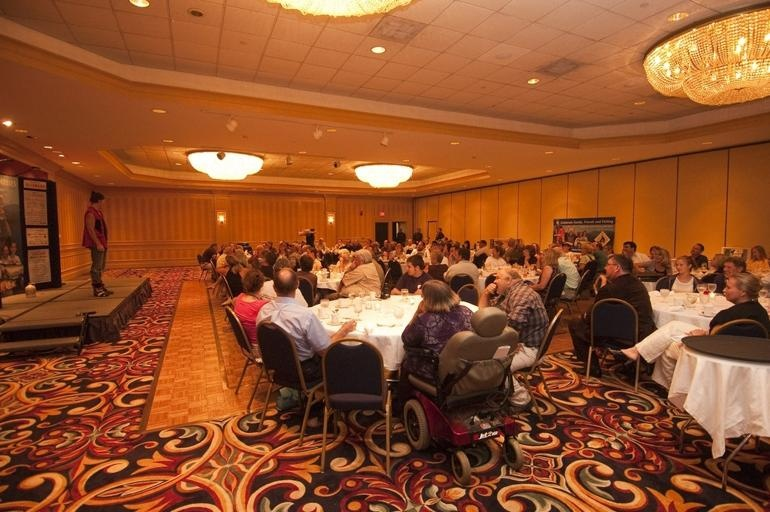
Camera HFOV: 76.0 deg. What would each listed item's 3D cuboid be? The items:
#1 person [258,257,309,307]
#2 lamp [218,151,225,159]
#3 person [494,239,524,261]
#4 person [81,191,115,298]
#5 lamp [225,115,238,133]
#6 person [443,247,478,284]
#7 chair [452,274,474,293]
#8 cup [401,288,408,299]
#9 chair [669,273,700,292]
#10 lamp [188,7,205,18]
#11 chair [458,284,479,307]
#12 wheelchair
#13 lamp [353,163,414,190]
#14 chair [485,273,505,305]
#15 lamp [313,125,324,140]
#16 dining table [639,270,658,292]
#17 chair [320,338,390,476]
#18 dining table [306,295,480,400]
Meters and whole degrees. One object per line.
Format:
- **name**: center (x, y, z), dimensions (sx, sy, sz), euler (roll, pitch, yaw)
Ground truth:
- **person**: center (-1.437, 0.380, 7.032), dimensions (0.839, 0.620, 0.378), euler (3, 23, 2)
- **lamp**: center (-3.430, -2.133, 10.345), dimensions (0.152, 0.194, 0.368), euler (0, 4, -20)
- **person**: center (2.940, -0.140, 11.622), dimensions (0.440, 0.406, 1.426), euler (18, 10, 28)
- **person**: center (-5.535, -0.233, 9.459), dimensions (0.429, 2.036, 1.339), euler (-2, 6, -29)
- **lamp**: center (-2.662, -2.332, 8.602), dimensions (0.213, 0.269, 0.150), euler (7, -35, -43)
- **person**: center (1.562, 0.190, 10.204), dimensions (0.861, 0.947, 0.583), euler (1, -11, 3)
- **chair**: center (1.341, 0.463, 8.409), dimensions (0.340, 0.285, 0.316), euler (0, -9, -4)
- **cup**: center (0.296, 0.564, 7.305), dimensions (0.127, 0.180, 0.123), euler (0, 1, 0)
- **chair**: center (4.649, 0.444, 7.712), dimensions (0.485, 0.401, 0.264), euler (-2, -11, 25)
- **lamp**: center (-2.455, -3.185, 6.434), dimensions (0.176, 0.048, 0.158), euler (-1, 4, -24)
- **chair**: center (1.296, 0.602, 7.568), dimensions (0.280, 0.418, 0.326), euler (-6, -11, 34)
- **wheelchair**: center (0.871, 1.401, 5.421), dimensions (1.293, 1.777, 0.593), euler (2, 5, 4)
- **lamp**: center (-0.062, -2.119, 12.669), dimensions (1.104, 0.320, 1.055), euler (0, 3, 15)
- **chair**: center (1.491, 0.436, 6.597), dimensions (0.313, 0.357, 0.397), euler (2, 1, -1)
- **lamp**: center (-1.253, -2.314, 9.169), dimensions (0.188, 0.223, 0.101), euler (4, -5, 3)
- **dining table**: center (4.573, 0.430, 8.542), dimensions (0.405, 0.343, 0.381), euler (-1, 1, -4)
- **chair**: center (-0.311, 1.601, 5.464), dimensions (0.782, 1.484, 0.518), euler (1, 5, 0)
- **dining table**: center (0.091, 1.084, 5.561), dimensions (1.571, 0.335, 1.456), euler (-1, -2, -14)
